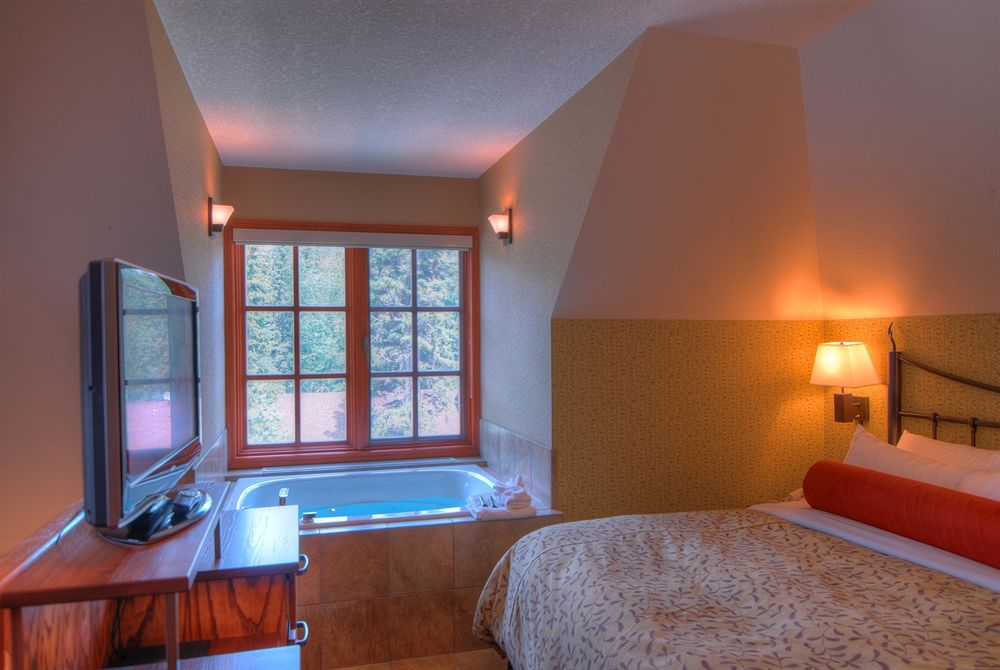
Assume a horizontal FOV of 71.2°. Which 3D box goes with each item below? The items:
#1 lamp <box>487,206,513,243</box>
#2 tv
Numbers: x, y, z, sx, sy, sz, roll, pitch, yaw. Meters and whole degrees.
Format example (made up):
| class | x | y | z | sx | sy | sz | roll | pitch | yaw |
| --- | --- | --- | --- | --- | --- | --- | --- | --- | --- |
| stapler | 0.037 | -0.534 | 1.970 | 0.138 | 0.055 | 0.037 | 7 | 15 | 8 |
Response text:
| class | x | y | z | sx | sy | sz | roll | pitch | yaw |
| --- | --- | --- | --- | --- | --- | --- | --- | --- | --- |
| lamp | 0.017 | -0.764 | 4.931 | 0.146 | 0.260 | 0.231 | -6 | 13 | -9 |
| tv | -1.418 | 0.260 | 2.812 | 0.361 | 0.991 | 1.100 | -2 | -2 | -11 |
